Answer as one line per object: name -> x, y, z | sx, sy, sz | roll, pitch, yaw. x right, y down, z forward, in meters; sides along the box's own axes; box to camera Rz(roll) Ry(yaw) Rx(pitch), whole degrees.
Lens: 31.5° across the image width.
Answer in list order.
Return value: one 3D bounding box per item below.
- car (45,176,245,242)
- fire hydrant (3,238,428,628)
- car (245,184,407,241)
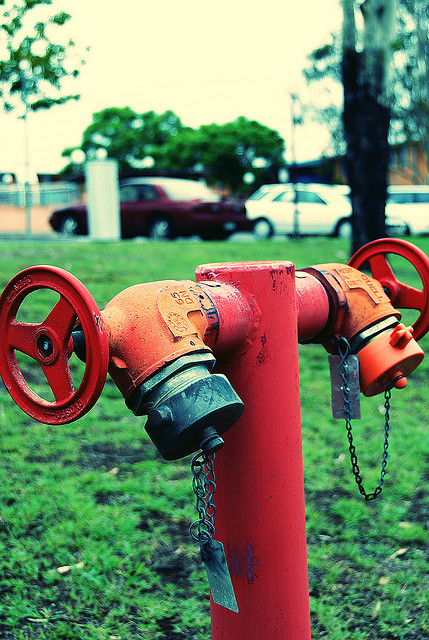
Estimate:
car -> -1.256, -2.029, 12.725 | 2.987, 0.870, 1.315 | 5, 12, 22
fire hydrant -> 0.020, 0.423, 2.317 | 0.516, 1.099, 1.428 | 4, 7, 44
car -> 1.517, -2.005, 13.912 | 1.898, 1.143, 1.304 | -2, 3, 2
